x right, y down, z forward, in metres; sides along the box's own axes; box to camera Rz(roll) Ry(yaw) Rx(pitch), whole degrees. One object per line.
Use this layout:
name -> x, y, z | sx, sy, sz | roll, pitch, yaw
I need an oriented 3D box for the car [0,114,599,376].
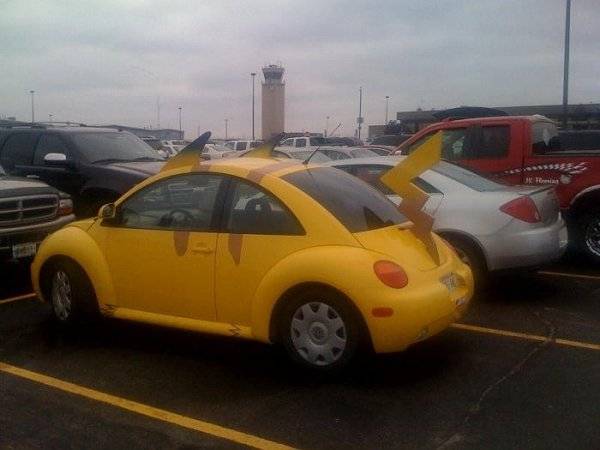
car -> -0.051, 0.287, 4.617 | 4.247, 2.010, 2.348 | 3, 5, 24
